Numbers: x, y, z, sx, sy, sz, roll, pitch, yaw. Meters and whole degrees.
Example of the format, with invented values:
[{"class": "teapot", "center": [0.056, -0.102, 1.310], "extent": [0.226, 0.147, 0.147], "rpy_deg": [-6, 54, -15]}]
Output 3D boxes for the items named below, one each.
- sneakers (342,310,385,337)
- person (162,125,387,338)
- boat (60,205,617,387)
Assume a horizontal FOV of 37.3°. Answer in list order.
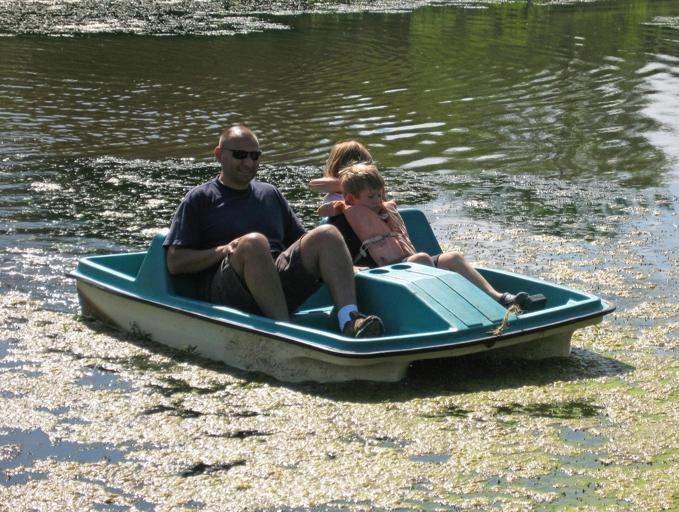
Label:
[{"class": "sneakers", "center": [0.176, 0.377, 5.539], "extent": [0.236, 0.108, 0.116], "rpy_deg": [-22, -18, 26]}, {"class": "person", "center": [-0.326, -0.106, 5.947], "extent": [1.225, 0.871, 0.841], "rpy_deg": [14, 23, 41]}, {"class": "boat", "center": [-0.082, 0.277, 6.004], "extent": [3.039, 0.740, 1.276], "rpy_deg": [5, 11, 20]}]
